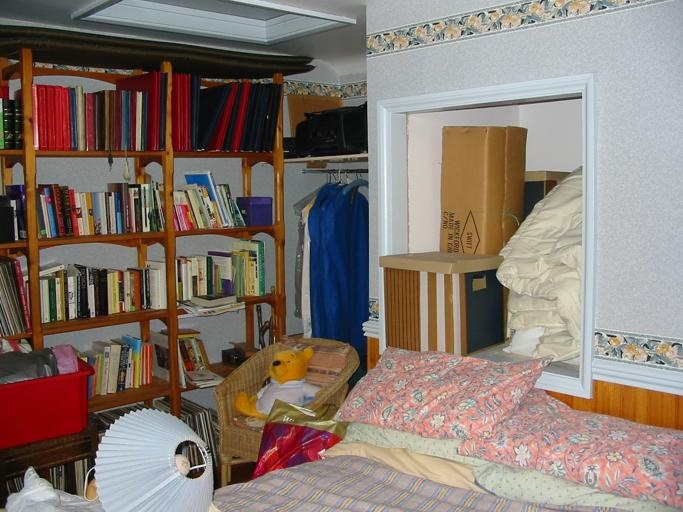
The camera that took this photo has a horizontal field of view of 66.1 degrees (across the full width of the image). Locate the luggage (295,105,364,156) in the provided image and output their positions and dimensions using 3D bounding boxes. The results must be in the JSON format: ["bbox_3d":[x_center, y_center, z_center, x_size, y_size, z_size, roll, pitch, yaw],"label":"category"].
[{"bbox_3d":[-0.077,-0.881,3.759,0.536,0.374,0.600,-6,11,-37],"label":"luggage"}]

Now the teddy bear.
[{"bbox_3d":[-0.405,0.778,3.219,0.535,0.412,0.288,-3,7,1],"label":"teddy bear"}]

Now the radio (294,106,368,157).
[{"bbox_3d":[-0.081,-0.876,3.761,0.542,0.371,0.616,-6,11,-37],"label":"radio"}]
